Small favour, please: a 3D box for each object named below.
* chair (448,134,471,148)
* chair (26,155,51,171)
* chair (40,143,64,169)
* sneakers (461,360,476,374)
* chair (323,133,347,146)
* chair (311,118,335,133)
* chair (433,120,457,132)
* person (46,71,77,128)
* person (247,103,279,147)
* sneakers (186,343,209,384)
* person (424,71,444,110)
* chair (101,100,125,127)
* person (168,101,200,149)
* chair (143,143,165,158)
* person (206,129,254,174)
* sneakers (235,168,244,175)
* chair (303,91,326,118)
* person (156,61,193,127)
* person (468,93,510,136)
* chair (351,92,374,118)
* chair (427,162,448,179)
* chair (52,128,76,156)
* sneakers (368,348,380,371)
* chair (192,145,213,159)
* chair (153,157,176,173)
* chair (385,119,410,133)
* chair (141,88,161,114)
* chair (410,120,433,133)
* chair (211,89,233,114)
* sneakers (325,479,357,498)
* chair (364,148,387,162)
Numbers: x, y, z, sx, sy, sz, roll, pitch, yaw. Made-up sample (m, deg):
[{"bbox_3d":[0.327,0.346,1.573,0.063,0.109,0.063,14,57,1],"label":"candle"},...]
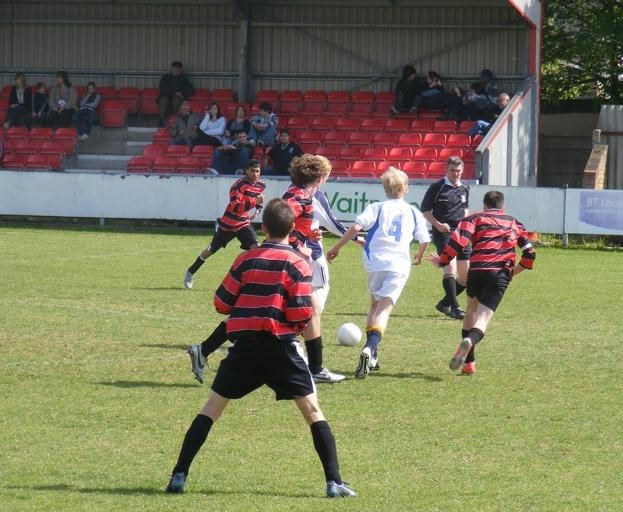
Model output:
[{"bbox_3d":[3.349,-2.646,30.477,0.534,0.286,0.226,8,7,34],"label":"chair"},{"bbox_3d":[-6.396,-2.186,31.394,0.353,0.485,0.409,0,1,-7],"label":"chair"},{"bbox_3d":[-6.242,-2.407,31.933,0.493,0.694,0.622,1,3,-5],"label":"chair"},{"bbox_3d":[2.097,1.500,17.511,0.249,0.173,0.083,4,6,42],"label":"sneakers"},{"bbox_3d":[0.565,-2.812,31.767,0.361,0.384,0.322,1,-1,1],"label":"chair"},{"bbox_3d":[0.290,-3.192,32.373,0.584,0.326,0.359,4,5,0],"label":"chair"},{"bbox_3d":[3.136,-3.083,31.619,0.534,0.275,0.299,5,5,8],"label":"chair"},{"bbox_3d":[-6.116,-3.869,33.042,0.650,1.442,0.954,2,6,-21],"label":"person"},{"bbox_3d":[-1.145,-3.040,30.995,0.563,1.014,1.159,4,11,11],"label":"person"},{"bbox_3d":[-1.398,1.296,16.434,0.276,0.563,0.197,-9,8,-6],"label":"sneakers"},{"bbox_3d":[3.001,-4.053,32.682,0.540,0.921,0.472,3,5,-11],"label":"person"},{"bbox_3d":[-5.016,-3.601,33.959,0.635,0.687,0.514,4,5,-6],"label":"chair"},{"bbox_3d":[-3.041,-3.017,32.039,0.751,1.462,0.813,-2,-9,0],"label":"person"},{"bbox_3d":[-3.796,-2.568,32.065,0.390,0.417,0.382,3,1,1],"label":"chair"},{"bbox_3d":[-1.763,-2.416,29.938,0.599,1.040,0.752,6,45,-31],"label":"person"},{"bbox_3d":[-1.601,-1.854,29.566,0.141,0.189,0.161,-15,37,12],"label":"sneakers"},{"bbox_3d":[-0.026,-3.929,33.981,0.514,0.761,0.666,1,-1,5],"label":"chair"},{"bbox_3d":[-3.498,-4.097,34.033,0.799,1.828,0.905,7,1,-4],"label":"person"},{"bbox_3d":[4.092,-3.250,30.847,0.876,1.042,1.337,5,5,7],"label":"person"},{"bbox_3d":[1.252,-3.870,33.741,0.517,0.780,0.683,1,1,9],"label":"chair"},{"bbox_3d":[2.701,-1.869,29.173,0.358,0.246,0.376,0,1,-4],"label":"chair"},{"bbox_3d":[-5.978,-2.830,32.613,0.494,0.671,0.637,2,5,-3],"label":"chair"},{"bbox_3d":[0.822,1.388,17.519,0.099,0.315,0.142,1,42,10],"label":"sneakers"},{"bbox_3d":[-2.557,-2.447,31.320,0.334,0.479,0.364,2,6,-2],"label":"chair"},{"bbox_3d":[-3.362,-2.096,30.707,0.411,0.335,0.163,0,46,5],"label":"chair"},{"bbox_3d":[2.052,-3.134,32.053,0.424,0.306,0.330,1,-1,11],"label":"chair"},{"bbox_3d":[-4.221,-4.031,34.781,0.410,0.340,0.795,2,46,-6],"label":"chair"},{"bbox_3d":[2.617,-3.109,31.826,0.551,0.317,0.345,5,5,2],"label":"chair"},{"bbox_3d":[-2.308,-4.047,34.676,0.606,0.863,0.656,0,1,-2],"label":"chair"},{"bbox_3d":[0.352,2.665,15.050,0.377,0.177,0.142,5,-2,-19],"label":"sneakers"},{"bbox_3d":[1.447,-2.328,30.411,0.548,0.305,0.358,5,5,2],"label":"chair"}]
